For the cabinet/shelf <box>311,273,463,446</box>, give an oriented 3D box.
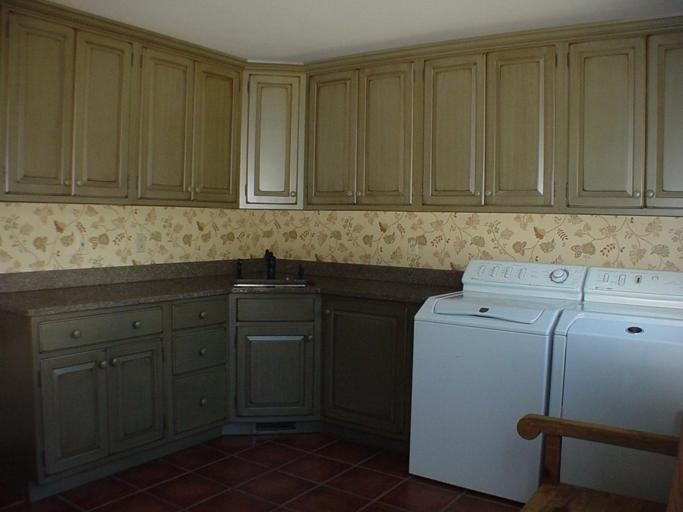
[{"bbox_3d":[0.117,0.590,4.054,1.244,1.416,0.953,0,0,38],"label":"cabinet/shelf"}]
